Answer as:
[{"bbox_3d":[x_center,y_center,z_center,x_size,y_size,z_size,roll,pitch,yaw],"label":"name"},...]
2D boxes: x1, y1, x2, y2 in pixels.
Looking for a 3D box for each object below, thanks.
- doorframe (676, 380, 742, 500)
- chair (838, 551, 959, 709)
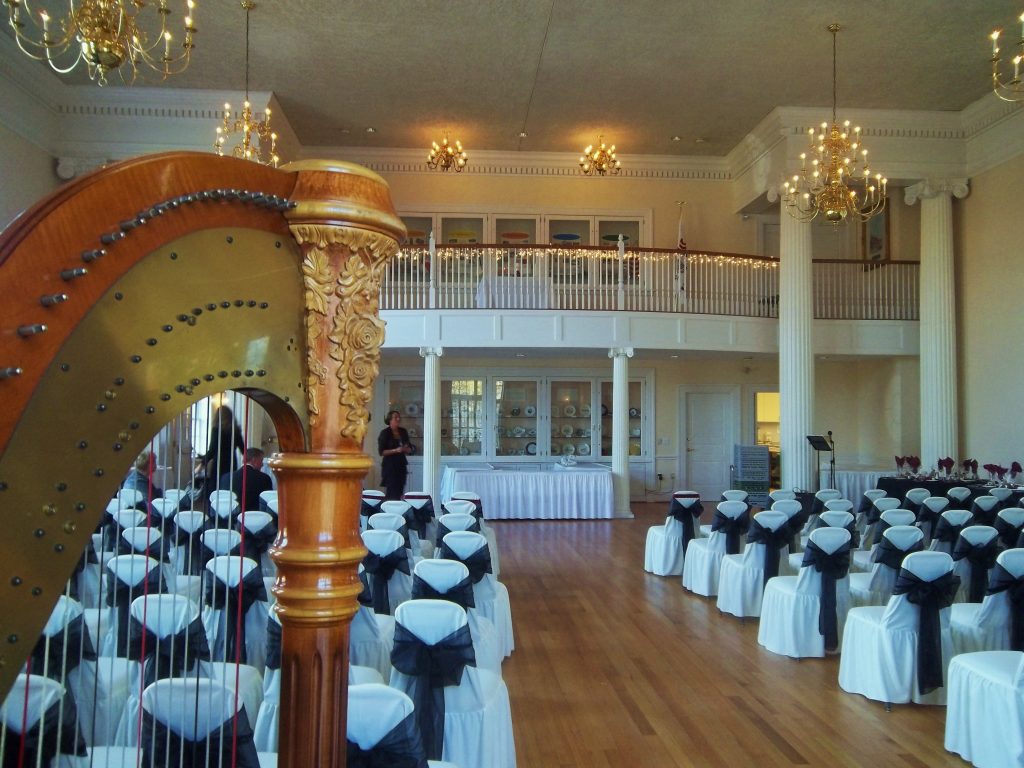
[{"bbox_3d":[3.236,1.038,14.693,0.882,1.873,0.172,0,12,12],"label":"doorframe"},{"bbox_3d":[2.425,1.481,5.513,0.582,0.932,0.673,0,-4,-10],"label":"chair"}]
